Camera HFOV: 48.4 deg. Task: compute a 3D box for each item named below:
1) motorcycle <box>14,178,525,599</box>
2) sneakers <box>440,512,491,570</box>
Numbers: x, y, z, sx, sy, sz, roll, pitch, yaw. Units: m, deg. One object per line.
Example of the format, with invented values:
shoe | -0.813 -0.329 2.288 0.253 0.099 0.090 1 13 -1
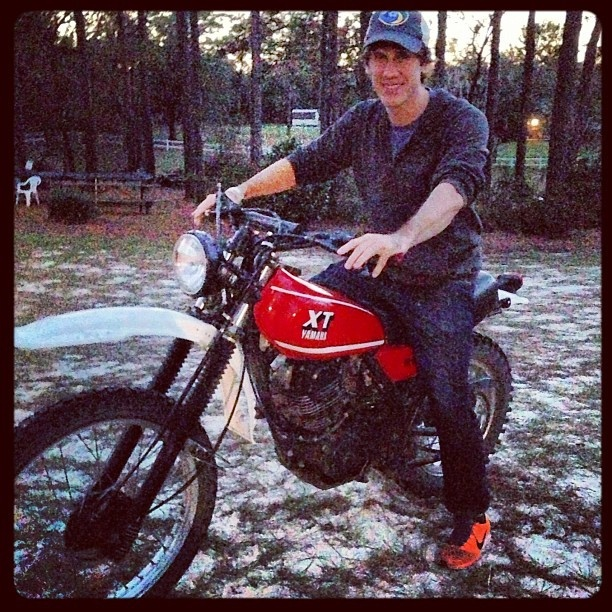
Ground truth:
motorcycle | -0.202 0.373 3.428 2.496 1.947 0.913 -6 16 -23
sneakers | 0.861 1.232 3.664 0.154 0.142 0.368 9 19 40
